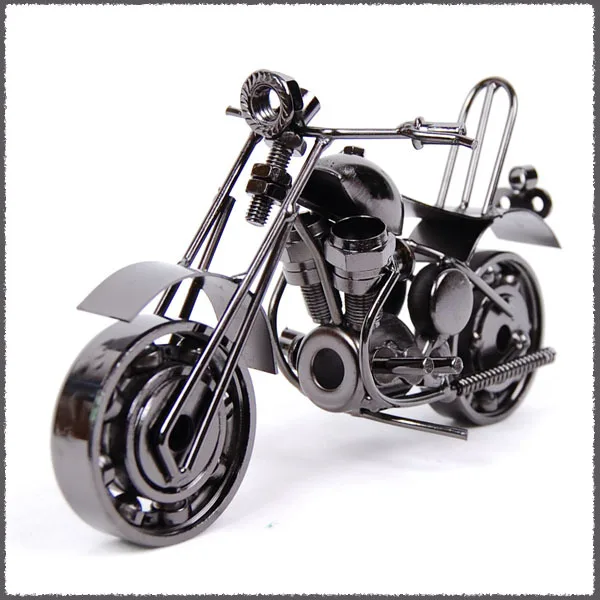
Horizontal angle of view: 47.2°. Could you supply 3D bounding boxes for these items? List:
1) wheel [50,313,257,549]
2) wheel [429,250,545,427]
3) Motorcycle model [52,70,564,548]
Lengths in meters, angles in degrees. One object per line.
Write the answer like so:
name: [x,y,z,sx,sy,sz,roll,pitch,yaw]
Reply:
wheel: [-0.348,0.323,1.604,0.137,0.423,0.438,-3,29,42]
wheel: [0.648,0.136,2.502,0.202,0.648,0.721,6,12,43]
Motorcycle model: [-0.010,0.020,2.405,0.902,1.057,2.037,1,5,41]
